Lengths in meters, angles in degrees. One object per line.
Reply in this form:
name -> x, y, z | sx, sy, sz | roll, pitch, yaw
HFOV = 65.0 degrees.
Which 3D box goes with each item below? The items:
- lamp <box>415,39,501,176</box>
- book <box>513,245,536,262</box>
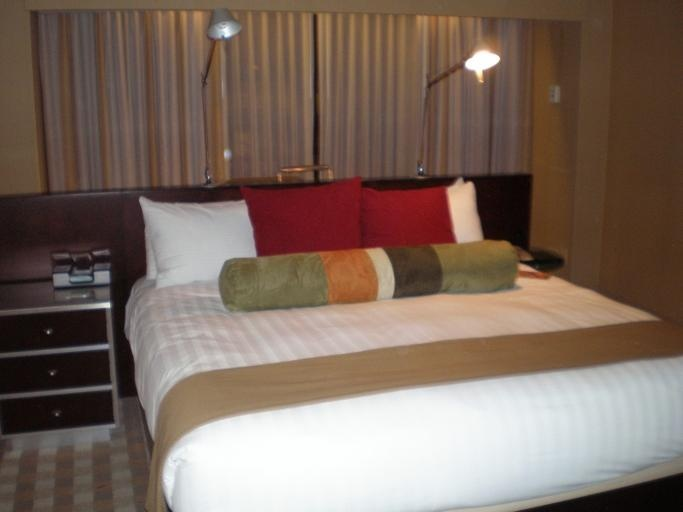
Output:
lamp -> 0.800, -1.041, 3.846 | 0.589, 0.987, 1.403 | 2, 14, 12
book -> 1.117, -0.014, 3.285 | 0.103, 0.029, 0.098 | 25, 7, -21
